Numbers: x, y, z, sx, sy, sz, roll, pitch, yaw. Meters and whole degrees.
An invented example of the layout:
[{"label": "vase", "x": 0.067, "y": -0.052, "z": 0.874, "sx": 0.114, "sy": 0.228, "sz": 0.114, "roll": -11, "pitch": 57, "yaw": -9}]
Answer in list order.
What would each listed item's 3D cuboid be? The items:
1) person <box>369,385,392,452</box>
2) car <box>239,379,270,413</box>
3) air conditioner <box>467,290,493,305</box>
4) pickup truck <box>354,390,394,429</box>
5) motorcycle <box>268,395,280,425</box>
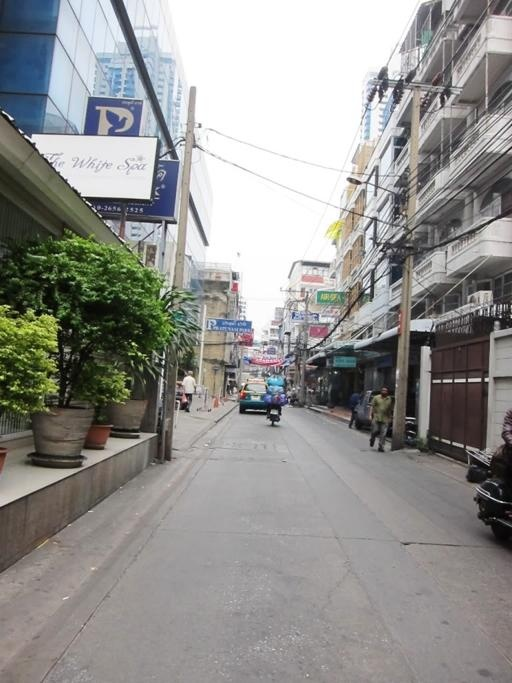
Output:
[{"label": "person", "x": 3.811, "y": 2.386, "z": 15.307, "sx": 0.572, "sy": 1.885, "sz": 0.999, "roll": 2, "pitch": -6, "yaw": 14}, {"label": "car", "x": -0.146, "y": 3.232, "z": 29.005, "sx": 1.025, "sy": 1.187, "sz": 2.351, "roll": 2, "pitch": 2, "yaw": 2}, {"label": "air conditioner", "x": 8.657, "y": -1.690, "z": 19.135, "sx": 0.597, "sy": 0.761, "sz": 1.157, "roll": 5, "pitch": 1, "yaw": -6}, {"label": "pickup truck", "x": 5.438, "y": 3.167, "z": 22.149, "sx": 1.579, "sy": 1.732, "sz": 2.996, "roll": 2, "pitch": 0, "yaw": -1}, {"label": "motorcycle", "x": 0.779, "y": 2.771, "z": 20.944, "sx": 0.485, "sy": 1.037, "sz": 0.584, "roll": 3, "pitch": -5, "yaw": 0}]
